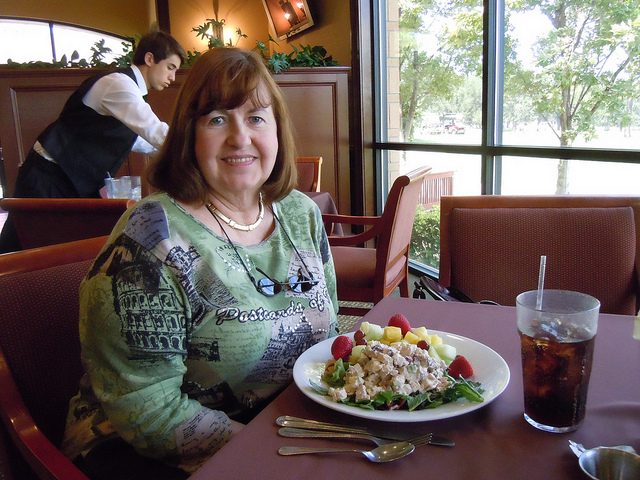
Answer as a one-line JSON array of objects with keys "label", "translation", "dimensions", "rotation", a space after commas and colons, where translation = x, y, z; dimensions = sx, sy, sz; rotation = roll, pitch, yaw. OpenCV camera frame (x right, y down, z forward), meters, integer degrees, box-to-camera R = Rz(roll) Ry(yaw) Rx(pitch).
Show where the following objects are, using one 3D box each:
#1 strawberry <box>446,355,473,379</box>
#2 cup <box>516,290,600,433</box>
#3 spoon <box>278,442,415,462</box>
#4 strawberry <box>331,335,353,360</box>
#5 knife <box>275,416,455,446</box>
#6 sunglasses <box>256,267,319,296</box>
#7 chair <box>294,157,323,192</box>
[{"label": "strawberry", "translation": [0.273, 0.250, 0.962], "dimensions": [0.034, 0.030, 0.047], "rotation": [-13, 31, -3]}, {"label": "cup", "translation": [0.419, 0.210, 0.880], "dimensions": [0.127, 0.221, 0.119], "rotation": [-1, 13, 0]}, {"label": "spoon", "translation": [0.042, 0.351, 0.822], "dimensions": [0.225, 0.022, 0.031], "rotation": [0, 13, 5]}, {"label": "strawberry", "translation": [0.045, 0.225, 1.015], "dimensions": [0.044, 0.045, 0.052], "rotation": [-1, 13, 0]}, {"label": "knife", "translation": [0.085, 0.335, 0.860], "dimensions": [0.265, 0.016, 0.029], "rotation": [3, 22, 12]}, {"label": "sunglasses", "translation": [-0.087, 0.099, 1.247], "dimensions": [0.183, 0.072, 0.066], "rotation": [-10, 15, -34]}, {"label": "chair", "translation": [-0.094, -0.551, 4.170], "dimensions": [0.188, 0.275, 0.341], "rotation": [-1, 13, 2]}]
